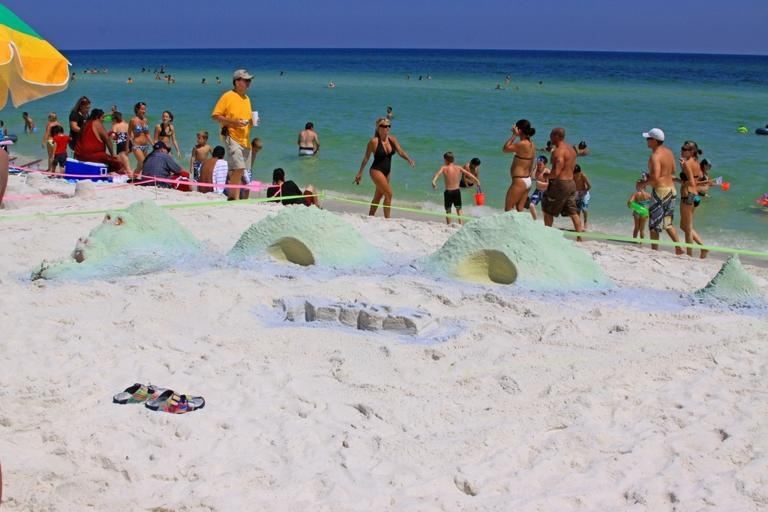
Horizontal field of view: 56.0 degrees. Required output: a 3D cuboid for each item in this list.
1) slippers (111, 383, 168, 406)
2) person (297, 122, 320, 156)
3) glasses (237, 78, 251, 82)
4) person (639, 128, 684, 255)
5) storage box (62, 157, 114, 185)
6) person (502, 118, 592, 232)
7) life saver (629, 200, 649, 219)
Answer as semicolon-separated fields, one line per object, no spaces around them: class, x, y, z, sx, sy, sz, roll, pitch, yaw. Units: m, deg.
slippers;-1.911;1.077;5.618;0.259;0.062;0.174;-3;14;-9
person;-1.942;-3.024;18.750;0.491;0.868;1.361;2;13;-8
glasses;-1.807;-2.304;9.441;0.146;0.038;0.095;1;10;33
person;3.599;-0.819;9.586;0.738;1.609;0.685;10;18;41
storage box;-4.847;-1.383;11.833;0.735;0.359;0.492;-1;8;-2
person;2.265;-1.033;10.070;1.226;1.635;0.356;1;14;-11
life saver;3.586;-0.644;10.095;0.238;0.140;0.368;2;15;-10
